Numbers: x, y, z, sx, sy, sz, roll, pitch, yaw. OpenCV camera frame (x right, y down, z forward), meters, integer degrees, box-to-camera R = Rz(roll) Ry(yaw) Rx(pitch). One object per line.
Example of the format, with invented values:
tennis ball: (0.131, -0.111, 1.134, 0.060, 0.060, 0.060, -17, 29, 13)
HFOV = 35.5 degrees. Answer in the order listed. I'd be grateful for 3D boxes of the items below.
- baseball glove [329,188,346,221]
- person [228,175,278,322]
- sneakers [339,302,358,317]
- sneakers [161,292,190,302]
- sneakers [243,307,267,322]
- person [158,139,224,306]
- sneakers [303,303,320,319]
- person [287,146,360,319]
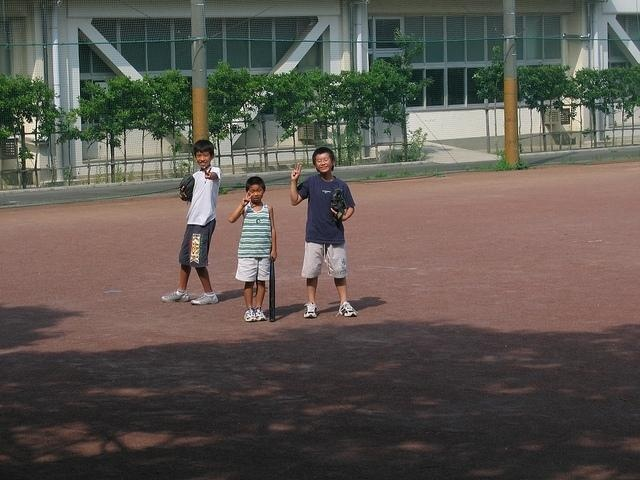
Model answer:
baseball glove: (0.193, -0.387, 11.081, 0.163, 0.352, 0.134, -3, 3, 0)
person: (-0.744, 0.100, 11.171, 0.443, 1.599, 0.434, -1, 4, 40)
sneakers: (0.298, 0.778, 11.314, 0.215, 0.168, 0.314, -3, 4, 1)
sneakers: (-1.759, 0.696, 12.167, 0.353, 0.138, 0.132, 2, 1, -6)
sneakers: (-0.727, 0.827, 11.118, 0.256, 0.151, 0.237, -3, 4, -4)
person: (-1.589, -0.228, 12.240, 0.757, 1.997, 0.781, -4, 3, -9)
sneakers: (-0.123, 0.792, 11.277, 0.166, 0.170, 0.270, -3, 4, -2)
person: (0.040, -0.101, 11.459, 0.711, 1.919, 1.017, -3, 3, -1)
